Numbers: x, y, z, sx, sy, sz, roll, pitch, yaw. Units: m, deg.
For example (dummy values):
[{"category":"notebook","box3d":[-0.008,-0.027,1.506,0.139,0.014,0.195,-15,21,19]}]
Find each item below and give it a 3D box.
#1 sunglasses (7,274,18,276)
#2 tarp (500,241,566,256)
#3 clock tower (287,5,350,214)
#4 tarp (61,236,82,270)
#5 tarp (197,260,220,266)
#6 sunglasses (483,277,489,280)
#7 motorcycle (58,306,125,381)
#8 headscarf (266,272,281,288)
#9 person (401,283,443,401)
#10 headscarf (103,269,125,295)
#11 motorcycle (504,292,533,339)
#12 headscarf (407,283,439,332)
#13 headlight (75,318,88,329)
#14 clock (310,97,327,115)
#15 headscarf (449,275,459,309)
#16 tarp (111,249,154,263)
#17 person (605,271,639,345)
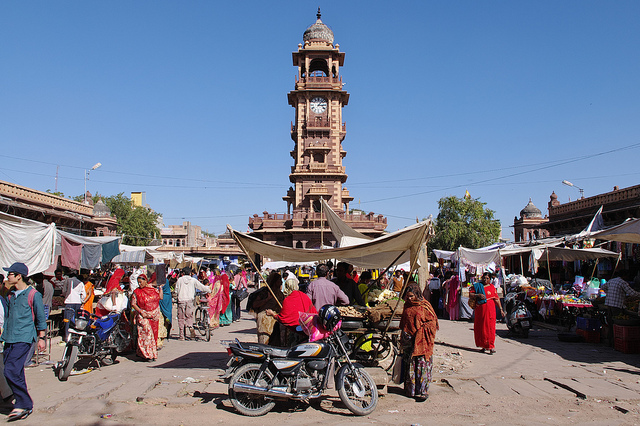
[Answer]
[{"category":"sunglasses","box3d":[-6.014,1.216,10.757,0.210,0.035,0.085,0,2,2]},{"category":"tarp","box3d":[8.830,1.466,22.652,1.498,0.421,1.010,-15,5,-37]},{"category":"clock tower","box3d":[1.571,-10.141,60.668,7.458,22.661,9.514,-4,13,-19]},{"category":"tarp","box3d":[-7.762,1.236,17.236,0.120,1.149,0.943,-7,-13,30]},{"category":"tarp","box3d":[-7.133,3.216,35.123,1.304,0.405,1.315,1,-5,-18]},{"category":"sunglasses","box3d":[4.721,1.860,15.670,0.145,0.084,0.096,0,3,1]},{"category":"motorcycle","box3d":[-5.487,3.076,13.166,0.855,1.462,1.759,0,3,8]},{"category":"headscarf","box3d":[-1.051,1.522,12.527,0.306,0.378,0.168,1,3,22]},{"category":"person","box3d":[2.096,2.672,11.585,0.766,2.365,0.677,0,3,8]},{"category":"headscarf","box3d":[-6.095,2.020,16.379,0.258,0.875,0.654,30,-2,-43]},{"category":"motorcycle","box3d":[6.794,3.367,18.548,0.847,1.414,2.413,-1,-3,12]},{"category":"headscarf","box3d":[2.172,1.957,11.728,0.533,1.054,0.483,0,2,-26]},{"category":"headlight","box3d":[-5.552,2.575,12.820,0.260,0.226,0.204,-1,3,-26]},{"category":"clock","box3d":[-0.172,-11.491,59.301,1.875,1.941,0.286,1,-7,10]},{"category":"headscarf","box3d":[5.357,3.159,22.226,0.277,1.317,0.463,-1,3,-22]},{"category":"tarp","box3d":[-8.196,1.911,24.487,1.070,0.591,2.608,1,2,16]},{"category":"person","box3d":[8.582,2.871,15.870,0.663,1.959,1.148,2,3,30]}]
